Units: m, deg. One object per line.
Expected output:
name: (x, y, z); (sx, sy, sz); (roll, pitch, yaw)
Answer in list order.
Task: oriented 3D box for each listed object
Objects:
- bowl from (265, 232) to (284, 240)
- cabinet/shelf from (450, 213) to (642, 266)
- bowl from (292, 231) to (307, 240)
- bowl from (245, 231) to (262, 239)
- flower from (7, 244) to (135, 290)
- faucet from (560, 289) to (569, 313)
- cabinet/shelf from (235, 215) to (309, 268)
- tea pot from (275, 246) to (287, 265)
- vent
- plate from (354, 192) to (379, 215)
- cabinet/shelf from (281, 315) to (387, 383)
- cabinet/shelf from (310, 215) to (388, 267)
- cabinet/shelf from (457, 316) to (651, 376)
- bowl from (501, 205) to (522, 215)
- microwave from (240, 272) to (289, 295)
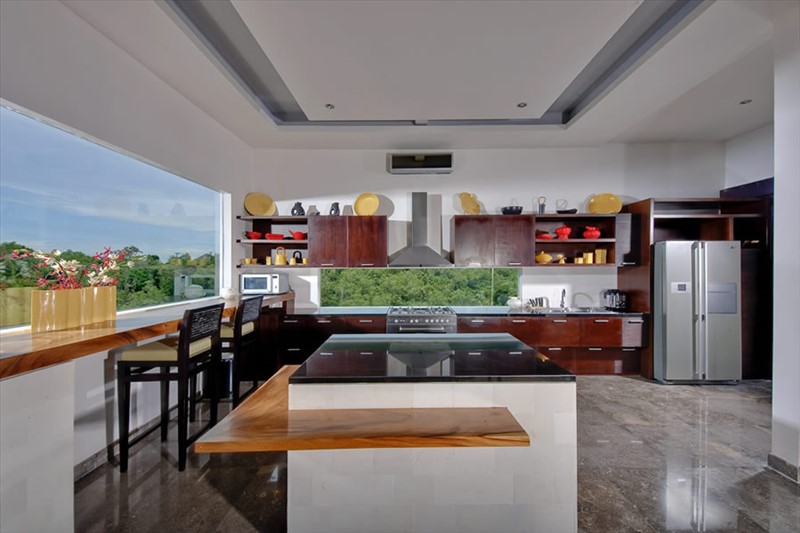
bowl: (-1.760, -0.400, 6.904); (0.246, 0.080, 0.224); (-1, 0, 0)
cabinet/shelf: (2.020, -0.303, 6.959); (2.498, 0.628, 0.395); (1, -4, 19)
bowl: (-1.420, -0.420, 6.965); (0.195, 0.113, 0.254); (-1, 0, -13)
bowl: (-2.057, -0.419, 6.931); (0.211, 0.114, 0.272); (-1, 0, -9)
flower: (-2.947, 0.013, 4.503); (0.534, 0.376, 1.021); (-1, 0, 34)
faucet: (2.328, 0.459, 7.053); (0.088, 0.310, 0.182); (-1, 0, 16)
cabinet/shelf: (-1.794, -0.447, 7.154); (0.917, 0.452, 0.306); (-8, 7, -36)
tea pot: (-1.688, -0.132, 6.969); (0.171, 0.250, 0.337); (-1, 0, -14)
vent: (0.292, -0.515, 7.068); (1.183, 1.000, 1.128); (3, 8, 24)
plate: (-0.473, -0.860, 6.994); (0.386, 0.319, 0.395); (-1, 0, -5)
cabinet/shelf: (-1.084, 1.097, 6.952); (1.741, 0.737, 0.618); (7, -19, -39)
cabinet/shelf: (-0.909, -0.330, 7.028); (1.259, 0.700, 0.667); (-2, 3, -37)
cabinet/shelf: (2.312, 1.060, 7.050); (0.483, 0.670, 2.073); (10, -13, -39)
bowl: (1.543, -0.750, 6.871); (0.265, 0.121, 0.236); (-1, 0, 7)
microwave: (-1.812, 0.239, 6.603); (0.627, 0.274, 0.315); (-1, 0, -16)
